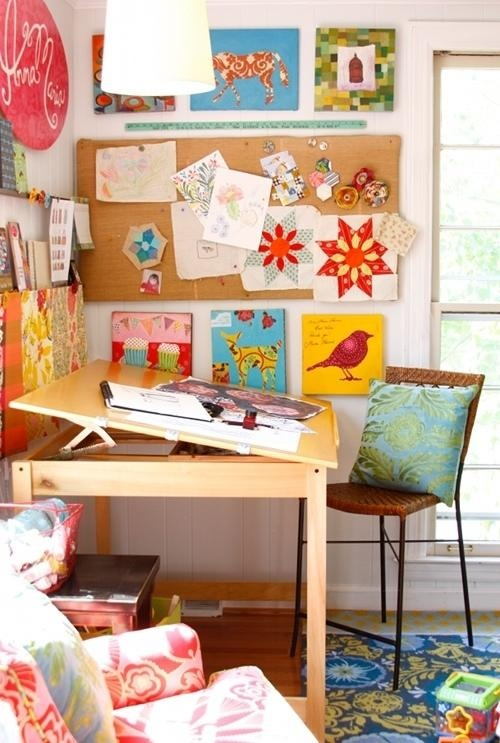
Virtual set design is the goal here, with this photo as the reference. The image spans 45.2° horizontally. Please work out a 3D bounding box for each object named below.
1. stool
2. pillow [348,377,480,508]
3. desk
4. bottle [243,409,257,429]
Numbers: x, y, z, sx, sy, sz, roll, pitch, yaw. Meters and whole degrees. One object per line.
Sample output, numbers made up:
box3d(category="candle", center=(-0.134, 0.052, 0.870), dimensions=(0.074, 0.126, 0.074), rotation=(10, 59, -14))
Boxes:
box3d(category="stool", center=(-0.374, 0.540, 1.540), dimensions=(0.207, 0.197, 0.207), rotation=(1, 10, 3))
box3d(category="pillow", center=(0.584, 0.238, 2.244), dimensions=(0.418, 0.401, 0.229), rotation=(7, 16, 40))
box3d(category="desk", center=(-0.220, 0.391, 2.185), dimensions=(1.003, 1.193, 1.103), rotation=(0, 4, 5))
box3d(category="bottle", center=(-0.002, 0.139, 1.761), dimensions=(0.037, 0.036, 0.064), rotation=(6, 51, 8))
